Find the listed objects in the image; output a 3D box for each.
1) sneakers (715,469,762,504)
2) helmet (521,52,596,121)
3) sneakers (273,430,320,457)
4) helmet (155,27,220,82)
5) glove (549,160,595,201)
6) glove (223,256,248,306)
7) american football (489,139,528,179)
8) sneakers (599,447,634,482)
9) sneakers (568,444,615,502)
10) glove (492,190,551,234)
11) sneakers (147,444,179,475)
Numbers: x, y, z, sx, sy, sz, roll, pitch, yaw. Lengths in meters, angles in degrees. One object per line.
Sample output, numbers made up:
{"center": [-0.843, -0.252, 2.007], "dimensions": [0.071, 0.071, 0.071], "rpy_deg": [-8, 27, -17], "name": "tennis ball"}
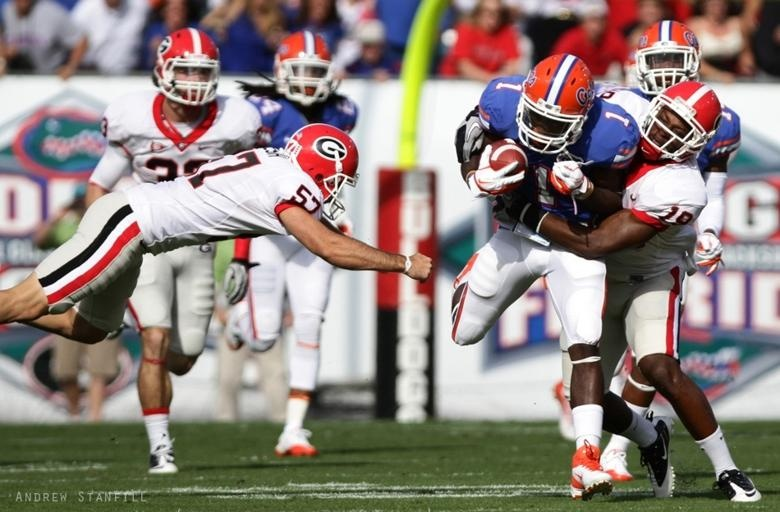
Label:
{"center": [1.871, 1.246, 5.897], "dimensions": [0.253, 0.168, 0.253], "rpy_deg": [4, 8, 25], "name": "sneakers"}
{"center": [0.913, -0.865, 5.912], "dimensions": [0.303, 0.389, 0.298], "rpy_deg": [22, 8, 16], "name": "helmet"}
{"center": [-0.618, 1.245, 7.205], "dimensions": [0.135, 0.146, 0.329], "rpy_deg": [7, -9, -32], "name": "sneakers"}
{"center": [-1.308, -1.261, 6.972], "dimensions": [0.308, 0.326, 0.406], "rpy_deg": [3, -3, -21], "name": "helmet"}
{"center": [0.943, -0.398, 5.790], "dimensions": [0.223, 0.100, 0.174], "rpy_deg": [46, 46, 15], "name": "glove"}
{"center": [-1.036, 0.171, 7.311], "dimensions": [0.160, 0.308, 0.161], "rpy_deg": [-2, 8, -21], "name": "glove"}
{"center": [0.623, -0.535, 5.801], "dimensions": [0.160, 0.156, 0.203], "rpy_deg": [3, 0, 24], "name": "american football"}
{"center": [1.334, 1.229, 6.416], "dimensions": [0.132, 0.135, 0.333], "rpy_deg": [5, 1, -17], "name": "sneakers"}
{"center": [1.051, 1.151, 5.728], "dimensions": [0.179, 0.327, 0.280], "rpy_deg": [-1, 7, -15], "name": "sneakers"}
{"center": [0.720, -0.253, 6.140], "dimensions": [0.126, 0.228, 0.433], "rpy_deg": [-5, 9, -39], "name": "glove"}
{"center": [-1.380, 1.239, 6.619], "dimensions": [0.173, 0.170, 0.181], "rpy_deg": [-1, 7, -13], "name": "sneakers"}
